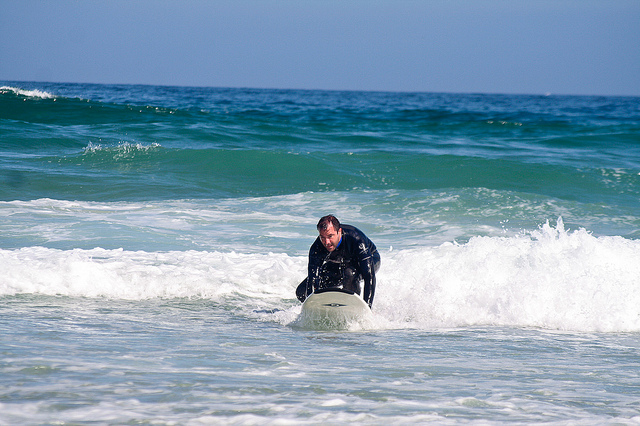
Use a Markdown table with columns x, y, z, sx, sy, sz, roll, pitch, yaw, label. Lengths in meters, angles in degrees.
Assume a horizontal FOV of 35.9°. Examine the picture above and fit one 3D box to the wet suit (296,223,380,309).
| x | y | z | sx | sy | sz | roll | pitch | yaw | label |
| --- | --- | --- | --- | --- | --- | --- | --- | --- | --- |
| 0.417 | 0.897 | 17.550 | 1.244 | 1.406 | 0.809 | 6 | 7 | 0 | wet suit |
